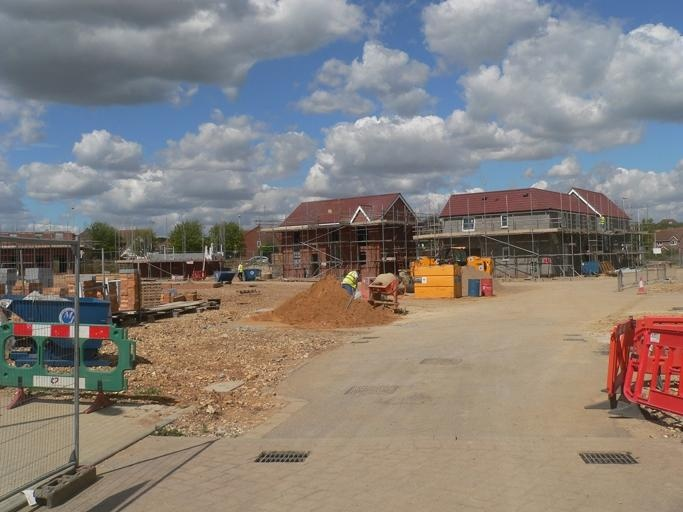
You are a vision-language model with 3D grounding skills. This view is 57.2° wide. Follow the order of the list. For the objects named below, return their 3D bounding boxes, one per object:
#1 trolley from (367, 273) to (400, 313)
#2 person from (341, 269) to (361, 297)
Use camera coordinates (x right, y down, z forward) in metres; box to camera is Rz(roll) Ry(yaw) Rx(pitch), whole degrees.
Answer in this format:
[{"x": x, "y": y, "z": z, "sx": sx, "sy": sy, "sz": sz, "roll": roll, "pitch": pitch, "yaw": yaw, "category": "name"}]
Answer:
[{"x": 1.698, "y": 1.429, "z": 24.840, "sx": 1.253, "sy": 1.454, "sz": 1.067, "roll": 0, "pitch": 1, "yaw": 43, "category": "trolley"}, {"x": 0.334, "y": 1.026, "z": 24.090, "sx": 0.706, "sy": 1.045, "sz": 2.116, "roll": -3, "pitch": -4, "yaw": 1, "category": "person"}]
